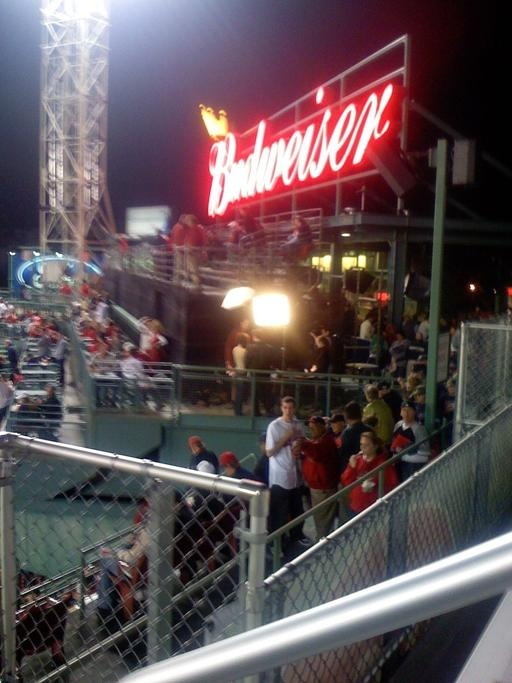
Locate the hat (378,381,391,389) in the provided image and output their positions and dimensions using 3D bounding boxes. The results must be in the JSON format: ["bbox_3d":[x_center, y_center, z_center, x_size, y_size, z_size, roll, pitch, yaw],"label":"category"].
[{"bbox_3d":[1.839,0.628,9.624,0.109,0.148,0.137,-2,-8,31],"label":"hat"}]
